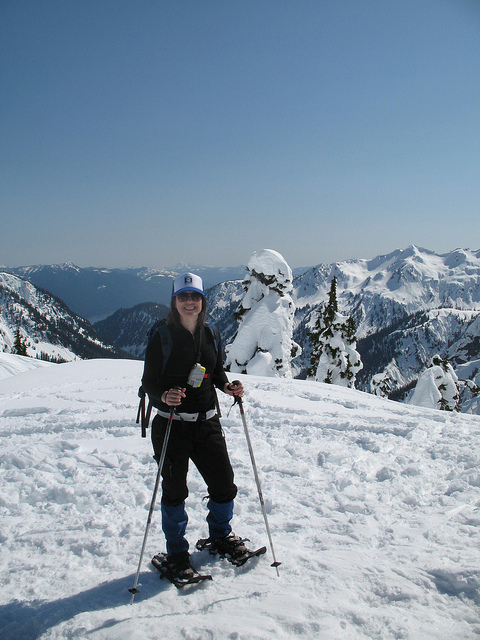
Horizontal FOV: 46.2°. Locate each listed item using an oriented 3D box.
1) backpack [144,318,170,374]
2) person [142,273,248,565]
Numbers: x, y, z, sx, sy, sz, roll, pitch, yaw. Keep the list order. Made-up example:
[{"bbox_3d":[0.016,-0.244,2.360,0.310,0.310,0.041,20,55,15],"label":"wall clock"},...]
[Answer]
[{"bbox_3d":[-0.957,0.294,6.492,0.283,0.589,0.439,-2,6,-9],"label":"backpack"},{"bbox_3d":[-0.548,1.122,6.478,1.054,3.297,0.692,-5,7,-30],"label":"person"}]
